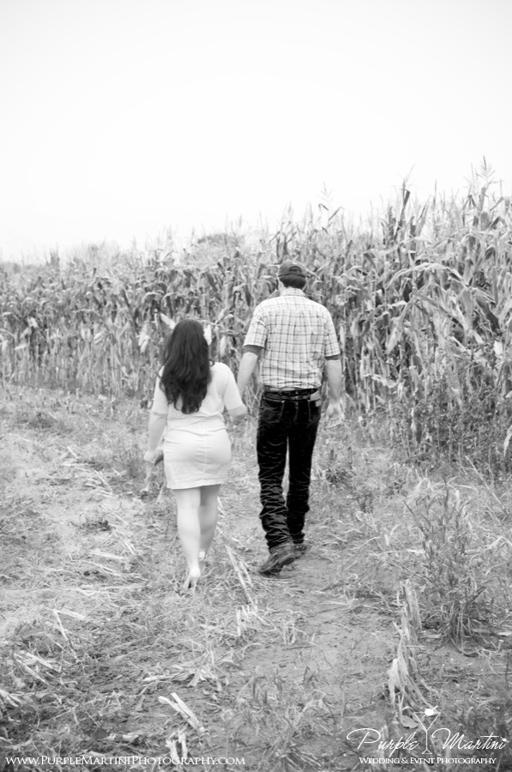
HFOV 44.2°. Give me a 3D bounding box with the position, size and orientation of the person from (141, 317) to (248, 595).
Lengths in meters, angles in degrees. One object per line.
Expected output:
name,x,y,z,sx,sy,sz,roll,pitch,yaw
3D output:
person,-0.321,0.388,3.502,0.547,1.499,0.306,-2,4,-12

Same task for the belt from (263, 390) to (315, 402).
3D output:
belt,0.201,0.051,3.754,0.308,0.063,0.094,-1,5,0

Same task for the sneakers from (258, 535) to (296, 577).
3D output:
sneakers,0.143,1.018,3.810,0.111,0.172,0.347,-3,-31,-38
